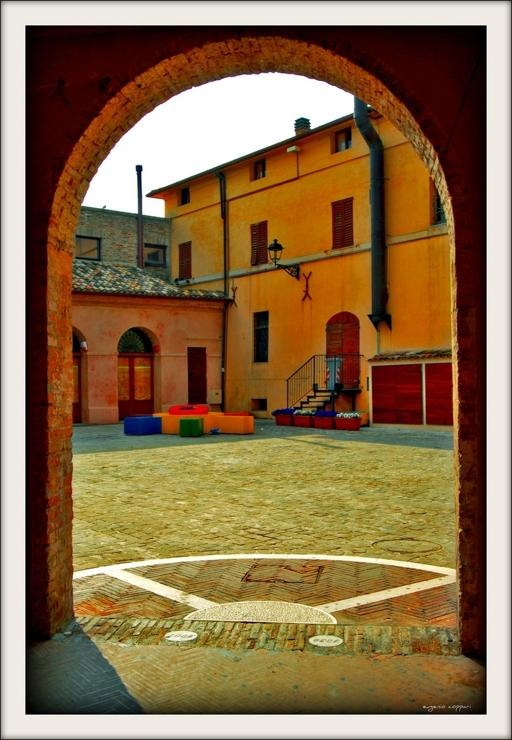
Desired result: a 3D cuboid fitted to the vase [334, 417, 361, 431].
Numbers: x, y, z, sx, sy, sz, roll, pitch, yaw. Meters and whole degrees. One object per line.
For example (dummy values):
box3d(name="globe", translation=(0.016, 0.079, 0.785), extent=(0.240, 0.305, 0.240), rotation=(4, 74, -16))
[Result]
box3d(name="vase", translation=(2.990, 1.698, 20.117), extent=(0.606, 0.310, 0.428), rotation=(-1, -2, 12))

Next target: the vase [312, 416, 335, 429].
box3d(name="vase", translation=(2.281, 1.719, 20.741), extent=(0.529, 0.292, 0.386), rotation=(0, -2, 18))

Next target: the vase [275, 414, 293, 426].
box3d(name="vase", translation=(1.020, 1.771, 22.354), extent=(0.501, 0.252, 0.359), rotation=(-2, -3, 20))
